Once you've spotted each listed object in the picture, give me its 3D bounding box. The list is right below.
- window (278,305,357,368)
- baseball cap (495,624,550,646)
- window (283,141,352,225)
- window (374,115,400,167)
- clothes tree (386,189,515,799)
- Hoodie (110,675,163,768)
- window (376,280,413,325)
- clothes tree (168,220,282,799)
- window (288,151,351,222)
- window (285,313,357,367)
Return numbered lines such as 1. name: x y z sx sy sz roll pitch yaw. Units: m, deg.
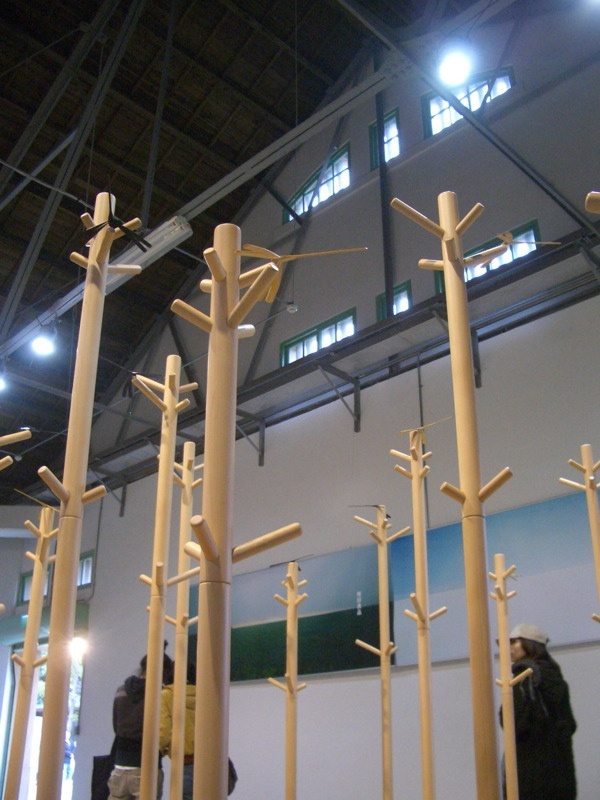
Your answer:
1. window: 0.276 -0.862 9.771 1.119 0.416 0.055 -28 -53 34
2. baseball cap: 1.107 1.112 3.456 0.155 0.063 0.111 5 -20 11
3. window: 0.311 -3.316 11.141 0.116 0.975 1.572 19 -32 -33
4. window: 1.289 -3.683 10.142 0.246 0.961 0.230 -10 -24 19
5. clothes tree: 0.532 0.111 2.362 0.331 2.084 0.214 9 -25 -25
6. Hoodie: -1.031 2.000 4.549 0.280 0.543 0.207 1 -5 2
7. window: 1.165 -1.184 8.809 0.049 0.590 0.684 8 -12 -28
8. clothes tree: -0.174 0.138 1.817 0.311 1.527 0.419 3 -23 -11
9. window: 0.337 -3.286 11.229 0.061 0.877 1.399 26 -40 -27
10. window: 0.312 -0.807 9.655 0.974 0.365 0.049 -29 -54 33
